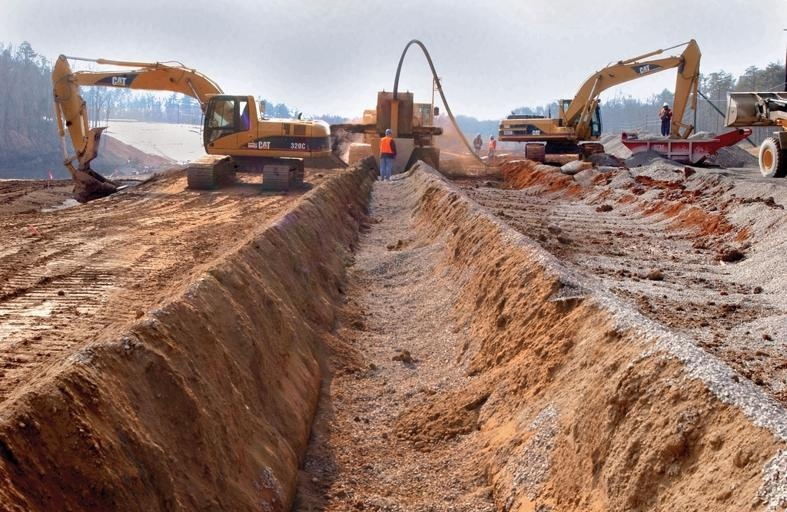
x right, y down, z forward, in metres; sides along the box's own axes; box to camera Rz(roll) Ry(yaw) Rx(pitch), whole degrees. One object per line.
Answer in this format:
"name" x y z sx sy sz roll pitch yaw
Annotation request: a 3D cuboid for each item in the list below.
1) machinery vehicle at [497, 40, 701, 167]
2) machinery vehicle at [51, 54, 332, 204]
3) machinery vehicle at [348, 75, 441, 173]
"machinery vehicle" 7.345 -5.398 23.136 6.864 4.200 2.289 0 -3 25
"machinery vehicle" -5.653 -3.362 17.106 6.792 3.821 2.086 3 12 7
"machinery vehicle" 0.139 -5.106 24.540 3.130 3.515 6.459 1 12 1
